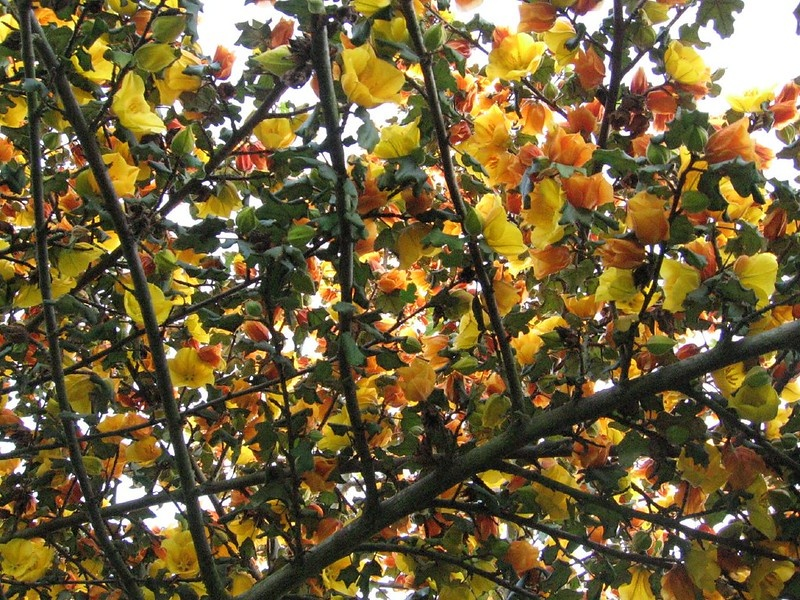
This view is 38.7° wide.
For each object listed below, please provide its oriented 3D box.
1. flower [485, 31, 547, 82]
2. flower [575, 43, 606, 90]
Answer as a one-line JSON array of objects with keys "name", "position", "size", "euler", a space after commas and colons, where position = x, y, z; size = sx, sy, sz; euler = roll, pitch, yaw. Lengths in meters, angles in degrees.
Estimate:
[{"name": "flower", "position": [0.346, -0.734, 3.403], "size": [0.153, 0.073, 0.152], "euler": [23, -68, 8]}, {"name": "flower", "position": [0.591, -0.720, 3.481], "size": [0.081, 0.125, 0.110], "euler": [-7, -87, -5]}]
